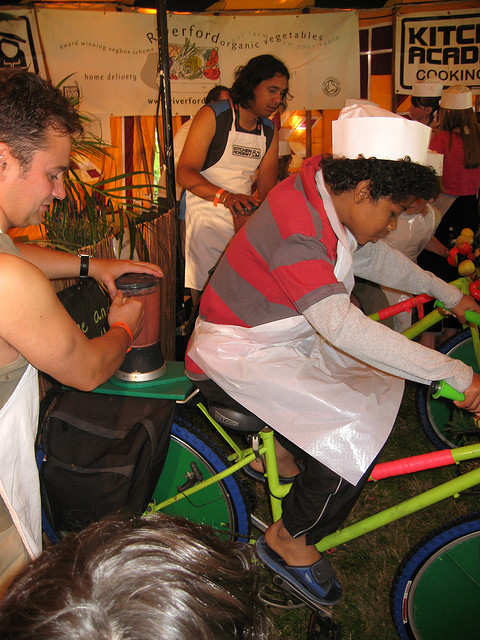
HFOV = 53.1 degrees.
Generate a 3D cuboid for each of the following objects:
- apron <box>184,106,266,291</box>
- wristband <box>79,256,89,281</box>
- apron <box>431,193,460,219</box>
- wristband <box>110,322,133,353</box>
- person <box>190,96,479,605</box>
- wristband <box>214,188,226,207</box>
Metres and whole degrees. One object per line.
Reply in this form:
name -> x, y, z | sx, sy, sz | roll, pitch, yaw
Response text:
apron -> -0.141, -0.888, 3.606 | 0.562, 1.273, 0.566 | -17, 32, -36
wristband -> -0.528, -0.176, 1.612 | 0.034, 0.077, 0.058 | -3, 19, -10
apron -> 1.440, -0.808, 3.382 | 0.132, 0.158, 0.145 | -9, 21, -27
wristband -> -0.349, 0.046, 1.392 | 0.077, 0.071, 0.050 | 4, -10, -35
person -> 0.257, 0.251, 1.657 | 0.845, 1.873, 0.877 | -2, 19, -6
wristband -> -0.121, -0.661, 2.586 | 0.020, 0.078, 0.064 | 15, 11, -10
